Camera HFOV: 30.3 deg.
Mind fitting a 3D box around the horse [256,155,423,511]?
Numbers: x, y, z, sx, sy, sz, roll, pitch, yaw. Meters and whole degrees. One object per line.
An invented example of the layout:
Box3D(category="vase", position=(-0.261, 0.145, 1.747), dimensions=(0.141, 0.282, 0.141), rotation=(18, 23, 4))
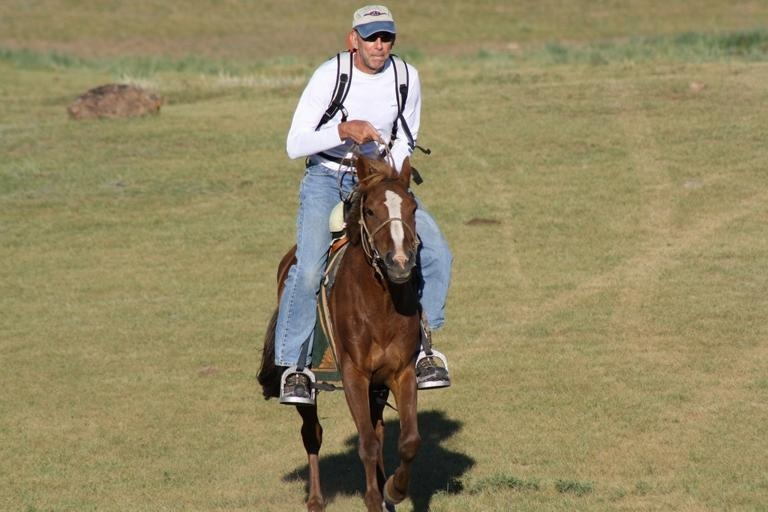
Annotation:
Box3D(category="horse", position=(-0.110, 1.418, 23.970), dimensions=(1.533, 6.104, 1.792), rotation=(-6, 16, -12))
